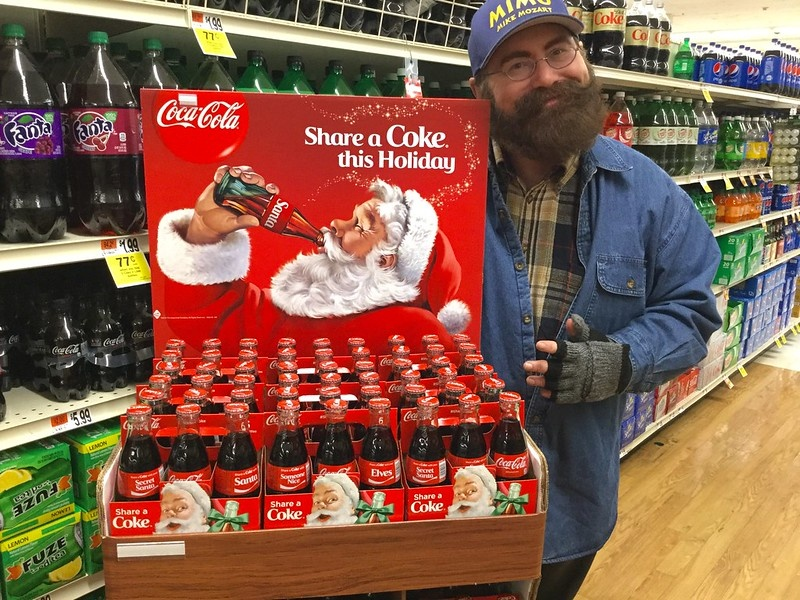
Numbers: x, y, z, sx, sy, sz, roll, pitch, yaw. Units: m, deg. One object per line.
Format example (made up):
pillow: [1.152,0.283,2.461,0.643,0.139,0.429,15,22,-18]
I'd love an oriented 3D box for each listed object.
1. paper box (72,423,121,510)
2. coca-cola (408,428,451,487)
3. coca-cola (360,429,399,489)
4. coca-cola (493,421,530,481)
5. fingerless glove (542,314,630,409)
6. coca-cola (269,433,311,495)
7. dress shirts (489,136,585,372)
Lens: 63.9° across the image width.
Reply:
paper box: [-1.096,0.601,2.314,0.130,0.274,0.146,9,18,41]
coca-cola: [0.064,0.361,1.499,0.094,0.125,0.076,-14,17,-39]
coca-cola: [-0.048,0.362,1.489,0.094,0.126,0.068,-5,13,-6]
coca-cola: [0.265,0.355,1.543,0.090,0.120,0.102,-2,13,7]
fingerless glove: [0.546,0.181,1.841,0.207,0.243,0.209,4,15,26]
coca-cola: [-0.254,0.365,1.454,0.101,0.129,0.075,-8,14,-21]
dress shirts: [0.485,-0.174,2.060,0.330,0.562,0.137,-2,5,3]
